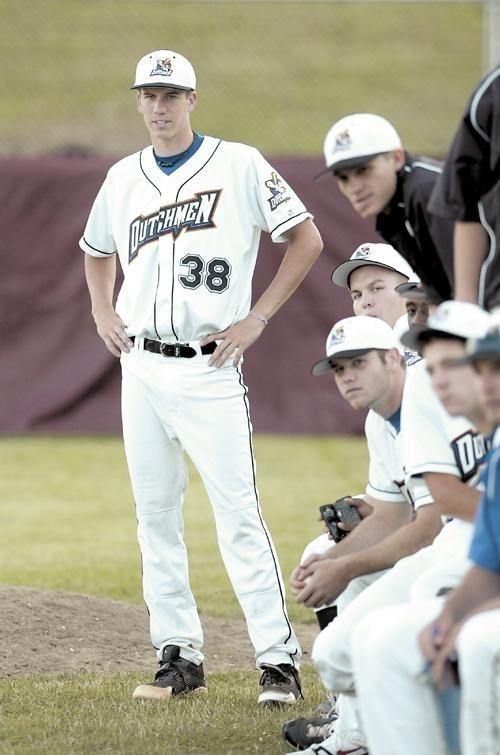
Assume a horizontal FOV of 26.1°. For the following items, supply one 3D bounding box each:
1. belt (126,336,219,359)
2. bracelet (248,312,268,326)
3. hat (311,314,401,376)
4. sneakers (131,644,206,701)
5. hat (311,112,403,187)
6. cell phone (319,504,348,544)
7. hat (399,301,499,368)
[{"bbox_3d":[-0.272,-0.095,3.650,0.327,0.068,0.099,1,4,34],"label":"belt"},{"bbox_3d":[0.041,-0.184,3.682,0.030,0.062,0.051,-55,21,-11],"label":"bracelet"},{"bbox_3d":[0.311,-0.101,3.123,0.211,0.093,0.148,-3,-12,-34],"label":"hat"},{"bbox_3d":[-0.254,0.954,3.514,0.198,0.139,0.230,0,4,11],"label":"sneakers"},{"bbox_3d":[0.281,-0.637,2.923,0.195,0.134,0.244,3,34,43],"label":"hat"},{"bbox_3d":[0.244,0.431,3.264,0.051,0.134,0.057,-41,-28,23],"label":"cell phone"},{"bbox_3d":[0.425,-0.097,2.282,0.185,0.053,0.109,1,-30,-21],"label":"hat"}]
